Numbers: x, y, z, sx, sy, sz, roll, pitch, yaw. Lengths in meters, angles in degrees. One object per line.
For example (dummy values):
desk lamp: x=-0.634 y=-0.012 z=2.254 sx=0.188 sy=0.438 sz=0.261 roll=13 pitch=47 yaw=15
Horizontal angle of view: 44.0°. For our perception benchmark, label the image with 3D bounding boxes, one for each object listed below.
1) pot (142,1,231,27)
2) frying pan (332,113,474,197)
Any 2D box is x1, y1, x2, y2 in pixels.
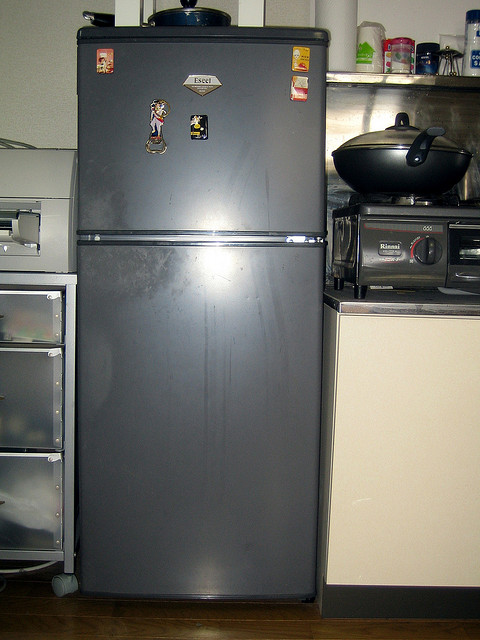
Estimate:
pot: x=-0.124 y=-0.722 z=1.419 sx=0.133 sy=0.048 sz=0.129 roll=-1 pitch=21 yaw=0
frying pan: x=0.390 y=-0.399 z=1.470 sx=0.280 sy=0.194 sz=0.287 roll=2 pitch=17 yaw=-1
